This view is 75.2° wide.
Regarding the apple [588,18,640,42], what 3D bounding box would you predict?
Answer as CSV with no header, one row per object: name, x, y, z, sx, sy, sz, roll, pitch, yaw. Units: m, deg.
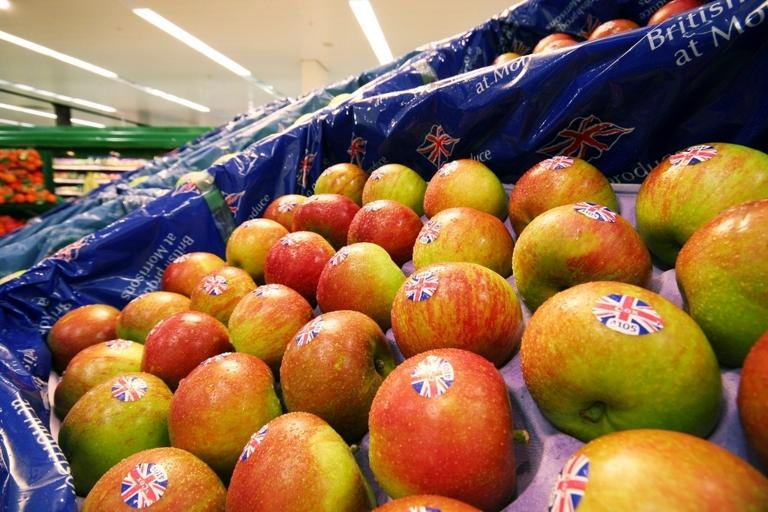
apple,0.910,-0.891,1.989,0.162,0.090,0.317,16,32,16
